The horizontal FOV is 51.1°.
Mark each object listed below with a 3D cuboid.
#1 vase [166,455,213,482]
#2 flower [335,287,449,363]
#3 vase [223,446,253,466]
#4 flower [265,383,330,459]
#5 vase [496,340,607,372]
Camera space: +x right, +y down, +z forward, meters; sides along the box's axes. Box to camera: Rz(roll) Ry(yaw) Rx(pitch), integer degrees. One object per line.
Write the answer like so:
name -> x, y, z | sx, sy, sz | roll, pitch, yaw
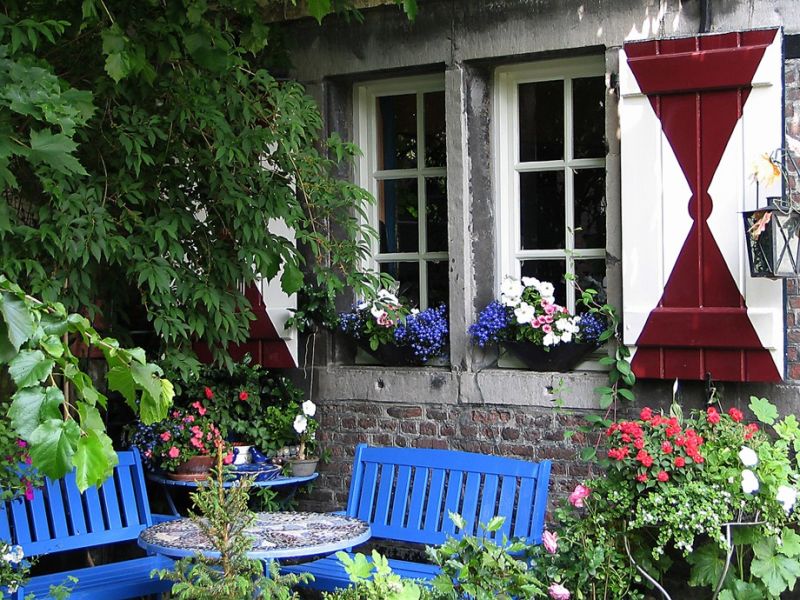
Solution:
vase -> -1.175, 0.942, 4.660 | 0.186, 0.111, 0.207 | 0, -2, -4
flower -> -0.016, 0.188, 4.792 | 0.423, 0.226, 0.466 | 9, -5, -4
vase -> -0.935, 0.892, 4.790 | 0.119, 0.101, 0.125 | 3, -7, -24
flower -> -0.649, 0.730, 4.997 | 0.327, 0.462, 0.321 | 6, -12, 12
vase -> 0.806, 0.307, 4.530 | 0.503, 0.166, 0.200 | 0, -1, 10
